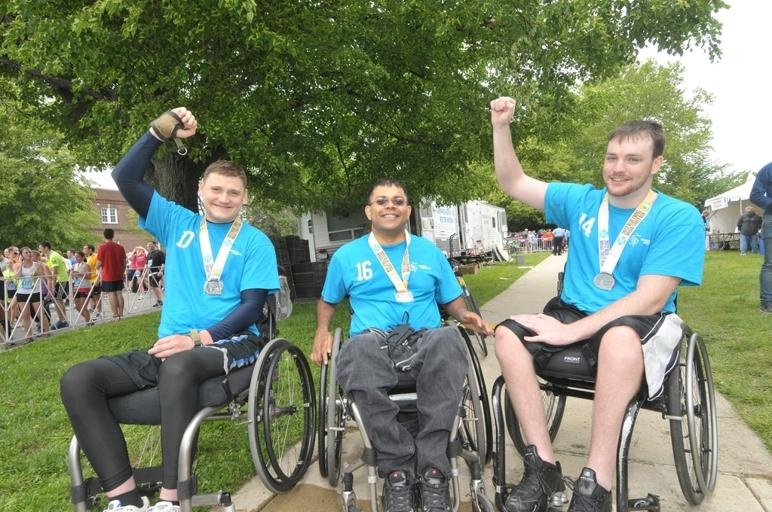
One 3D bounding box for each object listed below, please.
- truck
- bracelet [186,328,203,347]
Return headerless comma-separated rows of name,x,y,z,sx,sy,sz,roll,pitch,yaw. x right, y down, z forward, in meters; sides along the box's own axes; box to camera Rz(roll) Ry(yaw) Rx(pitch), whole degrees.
truck,2.076,-0.887,19.788,2.788,2.963,11.146,-3,-3,35
bracelet,-1.512,0.664,4.320,0.081,0.144,0.135,-20,21,0
